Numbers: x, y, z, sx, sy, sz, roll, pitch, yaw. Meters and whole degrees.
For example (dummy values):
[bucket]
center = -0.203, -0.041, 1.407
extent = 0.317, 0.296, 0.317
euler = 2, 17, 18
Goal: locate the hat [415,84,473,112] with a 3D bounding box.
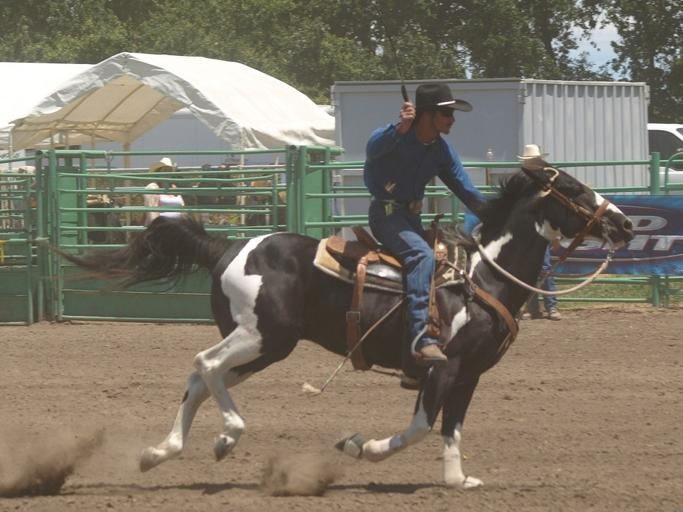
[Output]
[hat]
center = 0.960, -1.545, 11.549
extent = 0.449, 0.146, 0.327
euler = 1, 9, 17
